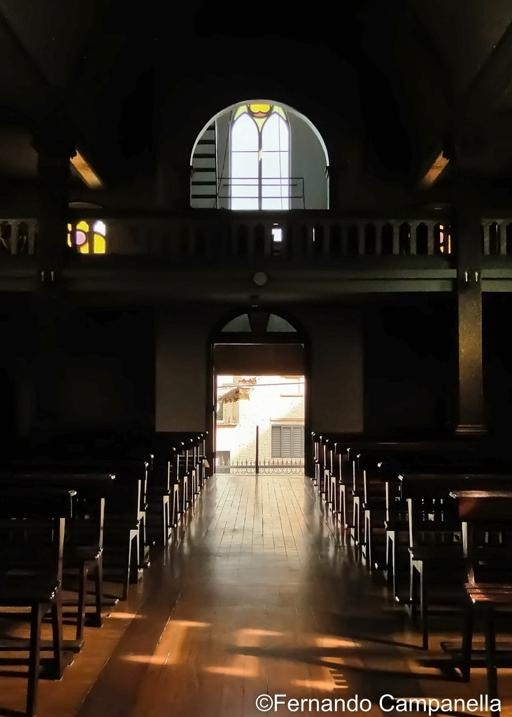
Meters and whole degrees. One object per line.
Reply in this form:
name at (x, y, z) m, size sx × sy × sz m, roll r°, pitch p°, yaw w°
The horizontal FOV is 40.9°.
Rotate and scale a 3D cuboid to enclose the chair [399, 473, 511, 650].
chair at (1.160, 1.202, 4.002) m, size 0.654 × 0.606 × 0.289 m, roll 2°, pitch -9°, yaw -13°
